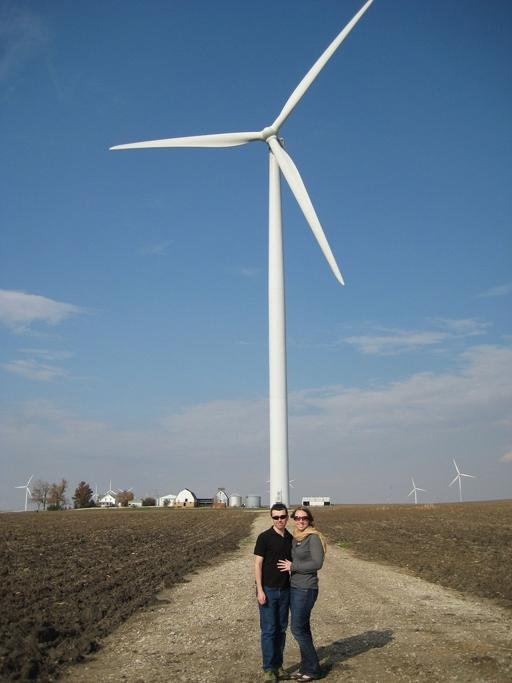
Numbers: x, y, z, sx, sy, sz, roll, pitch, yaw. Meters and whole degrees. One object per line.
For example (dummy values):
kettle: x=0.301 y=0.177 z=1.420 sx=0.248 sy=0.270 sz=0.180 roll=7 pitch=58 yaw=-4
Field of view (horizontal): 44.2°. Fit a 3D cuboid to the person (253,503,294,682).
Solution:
person: x=0.296 y=3.704 z=9.359 sx=0.605 sy=2.485 sz=0.910 roll=-3 pitch=-15 yaw=-1
